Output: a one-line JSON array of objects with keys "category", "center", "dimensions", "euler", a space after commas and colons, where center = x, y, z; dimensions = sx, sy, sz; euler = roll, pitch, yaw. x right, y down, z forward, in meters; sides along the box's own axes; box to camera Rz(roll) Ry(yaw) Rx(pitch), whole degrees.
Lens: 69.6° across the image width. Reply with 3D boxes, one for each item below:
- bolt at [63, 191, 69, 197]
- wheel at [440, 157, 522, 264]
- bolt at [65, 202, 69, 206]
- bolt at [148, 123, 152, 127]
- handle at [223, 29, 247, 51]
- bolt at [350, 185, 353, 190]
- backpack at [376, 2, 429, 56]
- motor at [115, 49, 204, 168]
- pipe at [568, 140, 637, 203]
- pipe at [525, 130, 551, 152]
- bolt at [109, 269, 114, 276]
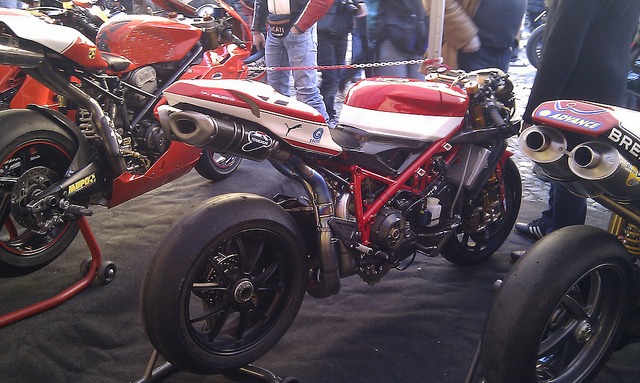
[{"category": "bolt", "center": [-2.136, 0.016, 3.873], "dimensions": [0.048, 0.045, 0.015], "euler": [10, -1, -23]}, {"category": "wheel", "center": [1.524, 0.223, 4.394], "dimensions": [0.978, 1.002, 0.189], "euler": [1, 14, -33]}, {"category": "bolt", "center": [-2.120, 0.101, 3.862], "dimensions": [0.027, 0.025, 0.006], "euler": [1, -4, 34]}, {"category": "bolt", "center": [-1.717, -0.679, 4.653], "dimensions": [0.043, 0.023, 0.018], "euler": [5, 9, 0]}, {"category": "handle", "center": [-1.021, -1.824, 5.552], "dimensions": [0.107, 0.110, 0.274], "euler": [9, -15, 36]}, {"category": "bolt", "center": [0.242, -0.034, 3.545], "dimensions": [0.035, 0.033, 0.010], "euler": [1, -1, -32]}, {"category": "backpack", "center": [1.034, -1.959, 5.937], "dimensions": [0.505, 0.781, 0.995], "euler": [0, 1, -4]}, {"category": "motor", "center": [-1.740, -0.892, 4.789], "dimensions": [0.645, 0.784, 1.300], "euler": [24, 45, 38]}, {"category": "pipe", "center": [1.759, -0.101, 2.880], "dimensions": [0.485, 0.251, 0.194], "euler": [22, -32, -30]}, {"category": "pipe", "center": [1.364, -0.319, 2.896], "dimensions": [0.144, 0.130, 0.131], "euler": [-3, 7, -42]}, {"category": "bolt", "center": [-1.882, 0.733, 4.167], "dimensions": [0.012, 0.043, 0.046], "euler": [5, -30, 31]}]
